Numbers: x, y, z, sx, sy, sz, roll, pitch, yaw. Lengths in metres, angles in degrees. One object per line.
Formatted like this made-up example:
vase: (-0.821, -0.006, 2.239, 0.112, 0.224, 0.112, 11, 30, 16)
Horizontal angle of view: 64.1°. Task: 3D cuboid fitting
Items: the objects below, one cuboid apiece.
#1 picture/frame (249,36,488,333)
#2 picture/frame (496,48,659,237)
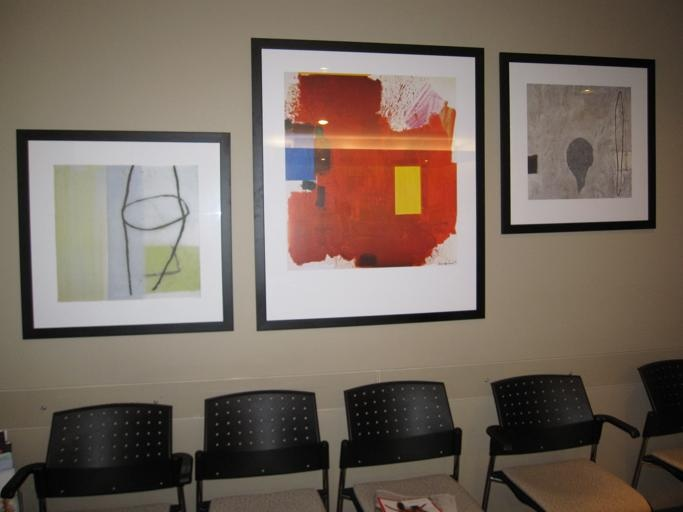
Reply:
picture/frame: (0.111, -0.554, 3.878, 1.776, 2.442, 0.106, -1, 0, -13)
picture/frame: (1.708, -0.871, 4.053, 1.186, 1.399, 0.046, -1, 0, -16)
